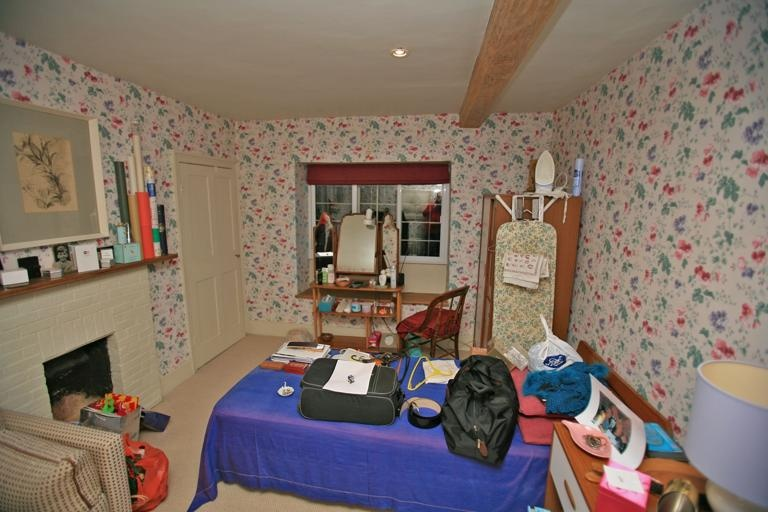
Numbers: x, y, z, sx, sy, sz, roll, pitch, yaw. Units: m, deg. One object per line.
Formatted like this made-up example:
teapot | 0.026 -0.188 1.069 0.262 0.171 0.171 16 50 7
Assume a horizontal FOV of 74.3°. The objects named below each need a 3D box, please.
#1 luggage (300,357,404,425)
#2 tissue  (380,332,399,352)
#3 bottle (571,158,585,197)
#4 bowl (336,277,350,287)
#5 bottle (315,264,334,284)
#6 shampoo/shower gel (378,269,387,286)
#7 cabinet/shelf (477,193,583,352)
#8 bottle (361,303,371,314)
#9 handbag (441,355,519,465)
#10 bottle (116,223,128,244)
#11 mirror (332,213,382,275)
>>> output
luggage | -0.260 1.004 3.768 0.644 0.228 0.395 2 14 7
tissue  | 0.059 0.950 5.633 0.177 0.046 0.191 -1 18 7
bottle | 1.730 -0.697 4.508 0.084 0.345 0.155 4 7 25
bowl | -0.471 0.299 5.793 0.155 0.086 0.216 0 5 -6
bottle | -0.683 0.222 5.855 0.237 0.227 0.099 0 0 17
shampoo/shower gel | -0.014 0.253 5.704 0.072 0.174 0.153 0 6 -3
cabinet/shelf | 1.401 -0.030 5.130 1.000 0.693 2.208 5 36 11
bottle | -0.201 0.592 5.686 0.100 0.093 0.172 0 6 -9
handbag | 0.694 1.100 3.688 0.527 0.615 0.504 2 6 11
bottle | -2.289 -0.184 4.430 0.084 0.163 0.057 -3 8 -28
mirror | -0.295 -0.115 5.883 0.724 0.985 0.049 0 -2 5
